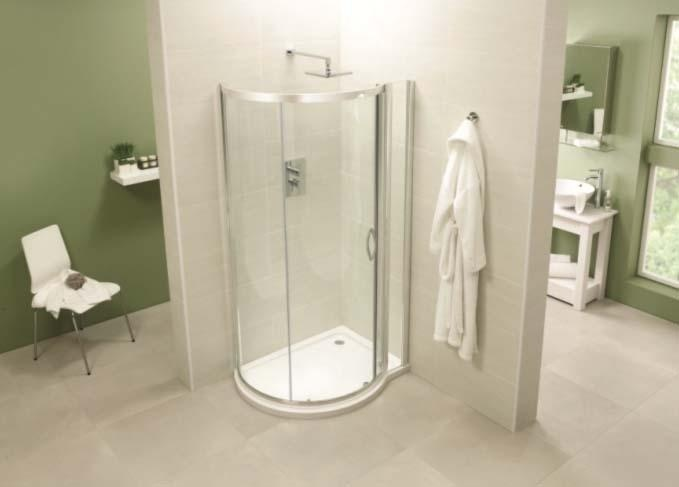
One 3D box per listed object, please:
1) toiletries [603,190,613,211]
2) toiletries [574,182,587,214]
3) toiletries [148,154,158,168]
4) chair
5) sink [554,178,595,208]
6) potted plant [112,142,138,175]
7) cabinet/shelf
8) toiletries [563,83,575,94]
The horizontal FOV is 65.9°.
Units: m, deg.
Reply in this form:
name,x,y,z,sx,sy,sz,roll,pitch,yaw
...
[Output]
name,x,y,z,sx,sy,sz,roll,pitch,yaw
toiletries,2.419,-0.392,4.695,0.075,0.156,0.146,11,28,24
toiletries,2.185,-0.400,4.729,0.101,0.191,0.341,11,28,23
toiletries,-1.524,-0.666,4.278,0.060,0.085,0.102,-4,26,-6
chair,-2.029,0.413,4.071,0.702,0.927,0.767,-13,29,-41
sink,2.103,-0.438,4.664,0.334,0.138,0.310,16,31,41
potted plant,-1.726,-0.675,4.185,0.183,0.229,0.213,-15,29,-26
cabinet/shelf,2.230,0.096,4.820,0.504,0.852,0.471,-18,30,-30
toiletries,2.074,-1.386,4.710,0.103,0.078,0.052,5,26,13
